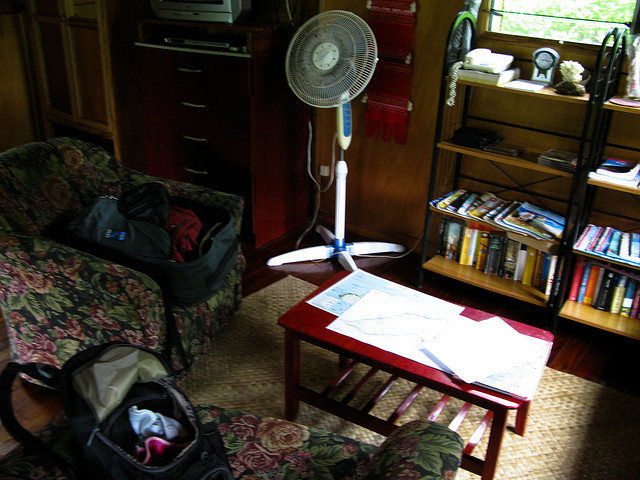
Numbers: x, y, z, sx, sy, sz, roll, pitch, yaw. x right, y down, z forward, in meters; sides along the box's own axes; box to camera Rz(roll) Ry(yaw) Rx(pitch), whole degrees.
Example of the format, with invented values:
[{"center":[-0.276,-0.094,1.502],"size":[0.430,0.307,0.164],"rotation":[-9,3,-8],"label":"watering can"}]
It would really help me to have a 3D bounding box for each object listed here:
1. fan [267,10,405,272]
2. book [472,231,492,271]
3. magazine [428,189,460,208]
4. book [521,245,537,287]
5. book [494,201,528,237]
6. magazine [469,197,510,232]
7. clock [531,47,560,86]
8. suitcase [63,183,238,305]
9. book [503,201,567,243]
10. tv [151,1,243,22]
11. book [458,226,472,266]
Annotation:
[{"center":[0.040,-0.560,2.976],"size":[0.754,1.499,0.805],"rotation":[-22,40,-34],"label":"fan"},{"center":[0.920,0.056,2.847],"size":[0.054,0.171,0.205],"rotation":[16,13,18],"label":"book"},{"center":[0.715,-0.243,2.881],"size":[0.316,0.047,0.032],"rotation":[-21,79,-27],"label":"magazine"},{"center":[1.136,0.135,2.717],"size":[0.088,0.169,0.204],"rotation":[4,25,11],"label":"book"},{"center":[1.024,-0.111,2.680],"size":[0.204,0.041,0.201],"rotation":[-33,42,-29],"label":"book"},{"center":[0.924,-0.155,2.764],"size":[0.206,0.045,0.205],"rotation":[-23,34,-32],"label":"magazine"},{"center":[1.132,-0.884,2.528],"size":[0.130,0.174,0.117],"rotation":[14,33,16],"label":"clock"},{"center":[-0.755,-0.042,2.175],"size":[0.702,0.201,0.434],"rotation":[18,46,6],"label":"suitcase"},{"center":[1.107,-0.087,2.610],"size":[0.267,0.056,0.220],"rotation":[16,36,19],"label":"book"},{"center":[-0.774,-1.435,3.102],"size":[0.653,0.121,0.095],"rotation":[17,33,28],"label":"tv"},{"center":[0.837,0.038,2.885],"size":[0.050,0.162,0.189],"rotation":[19,13,17],"label":"book"}]
